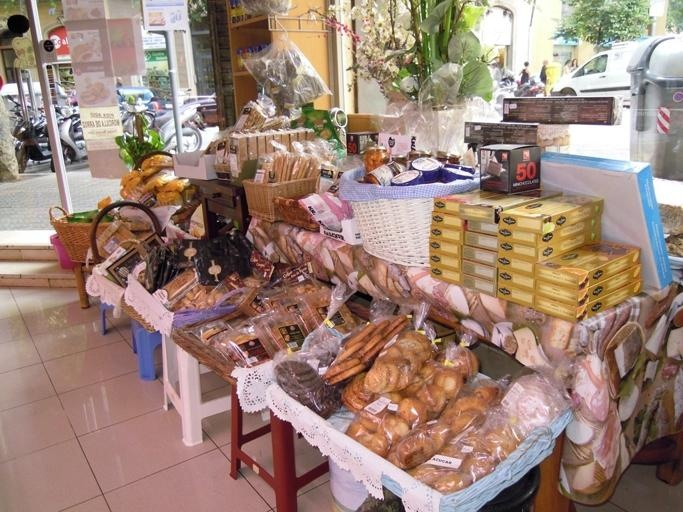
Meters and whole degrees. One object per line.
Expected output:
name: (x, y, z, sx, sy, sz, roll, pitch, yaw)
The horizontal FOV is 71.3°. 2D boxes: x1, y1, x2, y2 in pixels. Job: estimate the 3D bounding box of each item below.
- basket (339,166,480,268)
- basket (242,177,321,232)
basket: (0.210, -0.157, 1.641, 0.367, 0.234, 0.330, -4, 19, 6)
basket: (-0.302, -0.284, 2.294, 0.212, 0.146, 0.316, 21, 30, 37)
